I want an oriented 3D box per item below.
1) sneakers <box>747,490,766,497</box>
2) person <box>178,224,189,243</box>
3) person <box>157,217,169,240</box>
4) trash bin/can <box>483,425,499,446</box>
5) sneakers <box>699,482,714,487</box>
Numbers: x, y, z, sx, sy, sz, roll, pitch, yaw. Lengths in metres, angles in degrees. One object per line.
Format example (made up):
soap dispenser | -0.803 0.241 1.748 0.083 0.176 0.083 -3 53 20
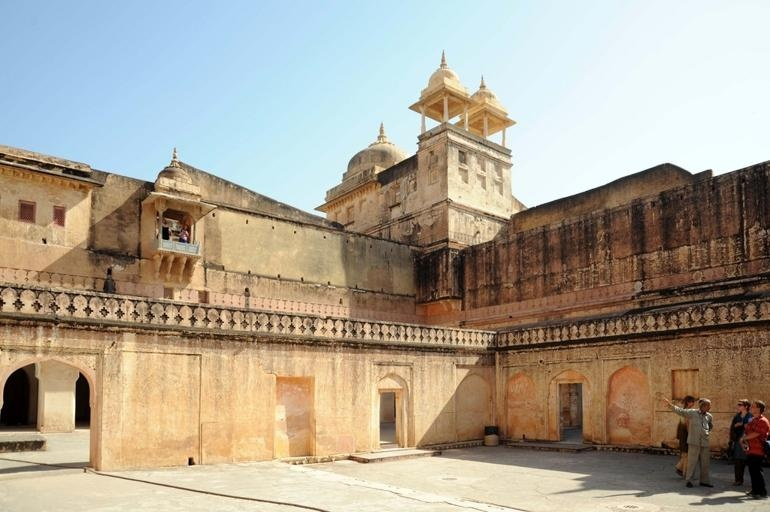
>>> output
sneakers | 10.663 6.843 25.142 0.520 0.236 0.185 2 -7 23
person | -8.600 -0.989 37.580 0.362 0.734 0.719 -1 3 -16
person | -9.386 -1.213 37.531 0.394 0.931 0.734 0 3 -13
trash bin/can | 4.225 7.169 34.905 0.659 0.733 0.659 0 -10 4
sneakers | 9.588 6.829 26.131 0.386 0.148 0.132 1 -4 10
